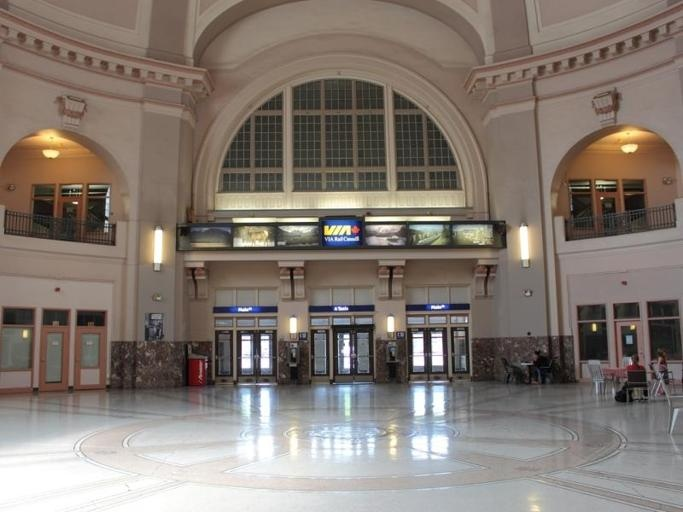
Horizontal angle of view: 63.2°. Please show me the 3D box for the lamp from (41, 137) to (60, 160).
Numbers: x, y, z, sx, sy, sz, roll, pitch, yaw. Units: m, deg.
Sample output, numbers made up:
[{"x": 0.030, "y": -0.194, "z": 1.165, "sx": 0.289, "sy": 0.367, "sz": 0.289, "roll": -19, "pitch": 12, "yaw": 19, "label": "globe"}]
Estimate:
[{"x": -11.410, "y": -4.250, "z": 21.658, "sx": 0.571, "sy": 0.836, "sz": 0.587, "roll": 0, "pitch": -3, "yaw": 7, "label": "lamp"}]

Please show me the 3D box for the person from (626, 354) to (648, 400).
[{"x": 7.624, "y": 3.134, "z": 14.285, "sx": 0.439, "sy": 1.131, "sz": 1.354, "roll": -5, "pitch": -9, "yaw": 28, "label": "person"}]

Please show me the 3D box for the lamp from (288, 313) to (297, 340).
[{"x": -1.922, "y": 2.850, "z": 22.005, "sx": 0.323, "sy": 1.003, "sz": 0.190, "roll": 0, "pitch": -8, "yaw": -6, "label": "lamp"}]

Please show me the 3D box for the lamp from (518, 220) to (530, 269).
[{"x": 6.768, "y": -0.385, "z": 20.510, "sx": 0.381, "sy": 1.647, "sz": 0.243, "roll": -4, "pitch": -9, "yaw": 20, "label": "lamp"}]

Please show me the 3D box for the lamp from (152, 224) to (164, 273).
[{"x": -6.640, "y": -0.248, "z": 20.043, "sx": 0.367, "sy": 1.641, "sz": 0.217, "roll": 2, "pitch": -9, "yaw": -23, "label": "lamp"}]

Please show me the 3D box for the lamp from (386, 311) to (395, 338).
[{"x": 1.969, "y": 2.812, "z": 22.222, "sx": 0.387, "sy": 0.932, "sz": 0.232, "roll": -2, "pitch": -8, "yaw": 3, "label": "lamp"}]

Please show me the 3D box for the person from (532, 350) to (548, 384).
[{"x": 6.996, "y": 3.908, "z": 19.524, "sx": 0.599, "sy": 1.148, "sz": 0.478, "roll": -8, "pitch": -10, "yaw": 40, "label": "person"}]
